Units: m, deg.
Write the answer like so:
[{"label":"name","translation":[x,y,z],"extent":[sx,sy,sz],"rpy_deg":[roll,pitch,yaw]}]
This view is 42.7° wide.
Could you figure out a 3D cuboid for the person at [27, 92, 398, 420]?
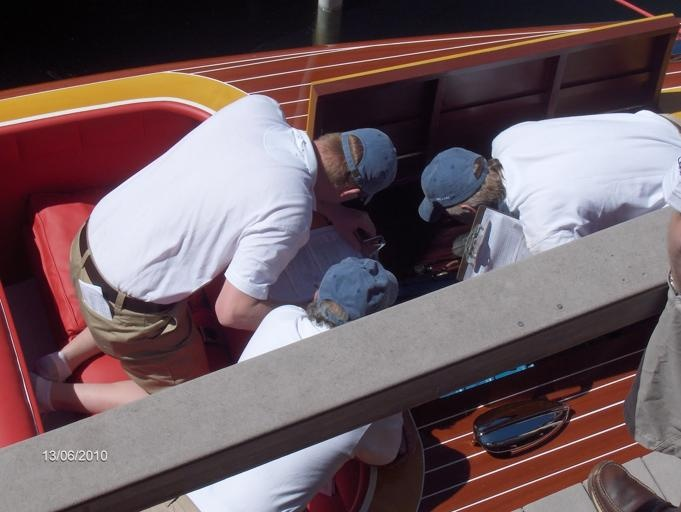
[{"label":"person","translation":[-0.669,0.120,4.021],"extent":[1.409,1.758,0.993],"rpy_deg":[-2,51,-33]}]

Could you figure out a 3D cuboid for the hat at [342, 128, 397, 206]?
[{"label":"hat","translation":[0.123,-0.399,3.843],"extent":[0.162,0.291,0.217],"rpy_deg":[-15,59,23]}]
